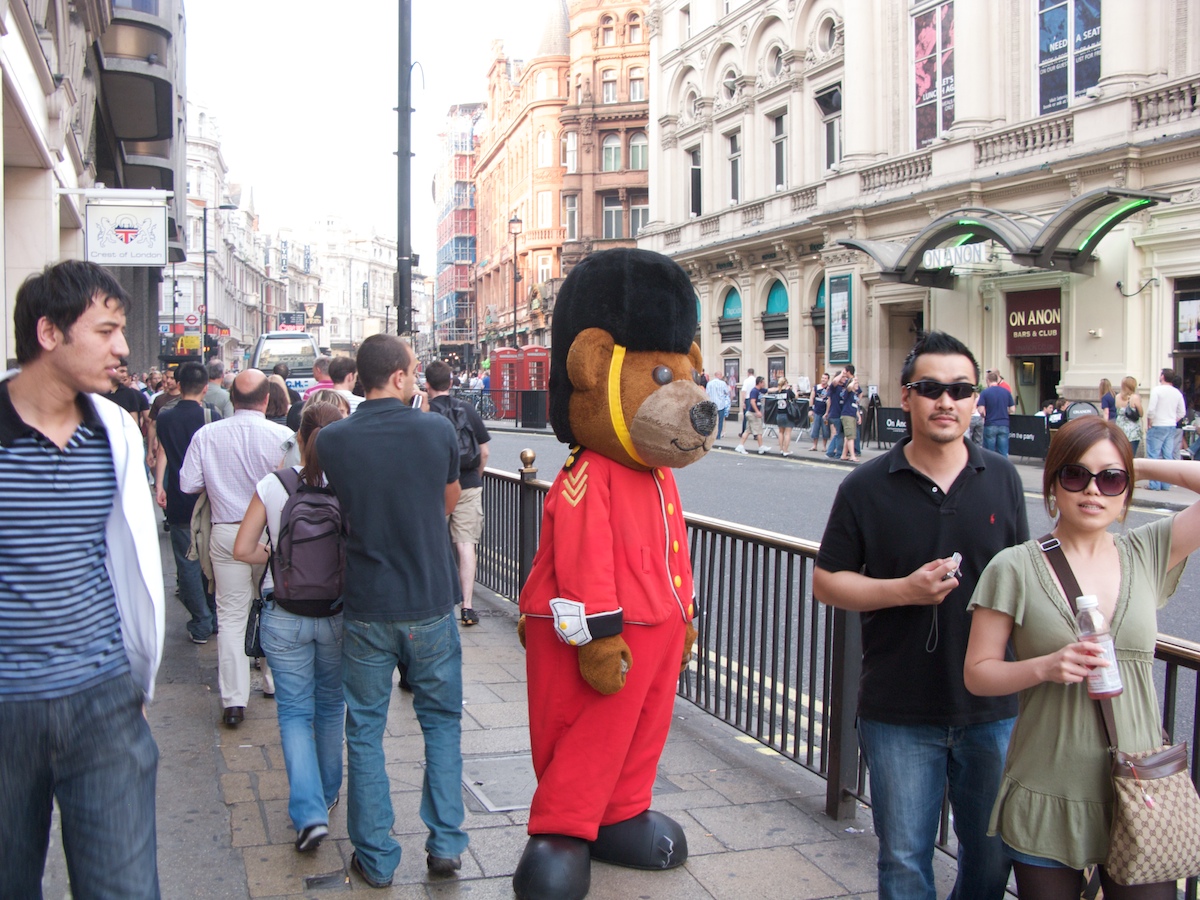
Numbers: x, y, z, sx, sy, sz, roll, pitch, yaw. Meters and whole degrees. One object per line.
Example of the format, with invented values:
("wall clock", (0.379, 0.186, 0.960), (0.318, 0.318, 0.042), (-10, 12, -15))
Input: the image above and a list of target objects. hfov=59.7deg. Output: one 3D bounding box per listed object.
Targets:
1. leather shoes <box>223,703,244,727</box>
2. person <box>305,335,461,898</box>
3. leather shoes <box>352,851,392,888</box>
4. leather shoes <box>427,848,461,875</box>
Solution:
("leather shoes", (-2.226, 1.601, 6.322), (0.076, 0.099, 0.205), (3, -13, -14))
("person", (-0.898, 0.652, 4.557), (0.601, 2.297, 0.579), (-2, 5, -16))
("leather shoes", (-0.975, 1.771, 4.447), (0.076, 0.096, 0.223), (1, 1, -40))
("leather shoes", (-0.674, 1.764, 4.470), (0.148, 0.096, 0.085), (0, 5, 3))
